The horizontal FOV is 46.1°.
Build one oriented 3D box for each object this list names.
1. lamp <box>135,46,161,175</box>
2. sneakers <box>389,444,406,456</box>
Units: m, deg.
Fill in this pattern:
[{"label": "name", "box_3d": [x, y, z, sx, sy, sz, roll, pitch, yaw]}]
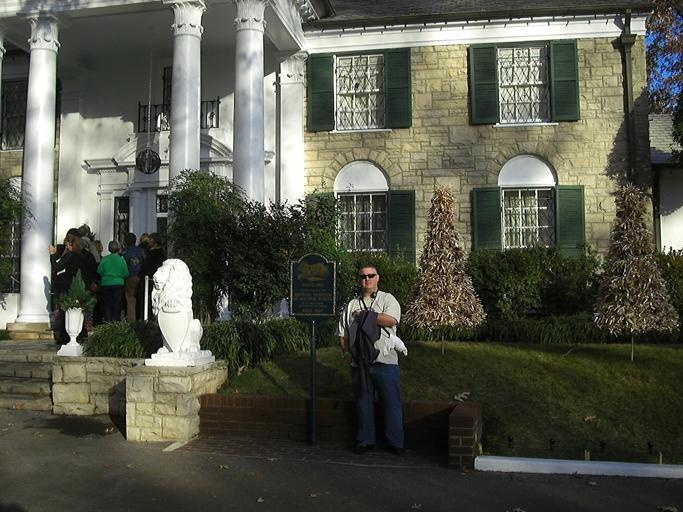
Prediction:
[{"label": "lamp", "box_3d": [-5.314, -3.621, 22.142, 0.503, 2.408, 0.452, 11, -17, -42]}, {"label": "sneakers", "box_3d": [0.803, 2.894, 11.921, 0.262, 0.126, 0.118, -4, -1, 31]}]
